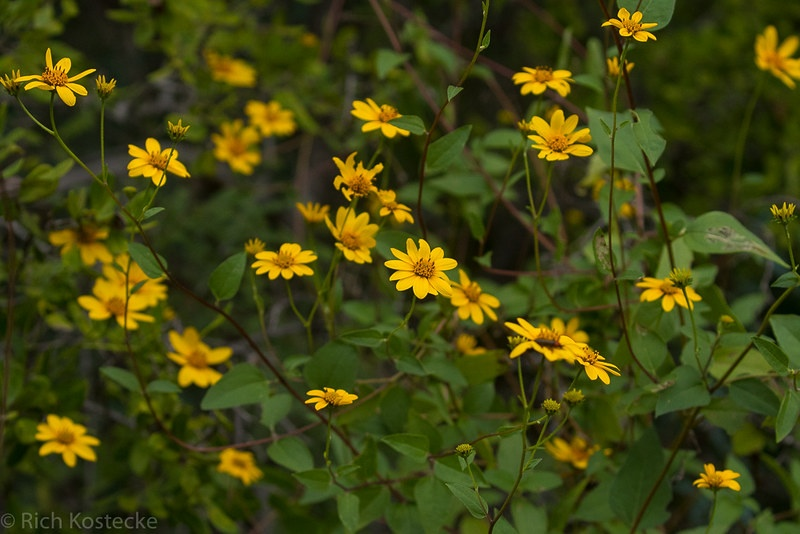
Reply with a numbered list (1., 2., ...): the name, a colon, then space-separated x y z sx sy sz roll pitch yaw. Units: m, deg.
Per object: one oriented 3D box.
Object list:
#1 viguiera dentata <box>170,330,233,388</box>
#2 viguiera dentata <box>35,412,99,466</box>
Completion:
1. viguiera dentata: -0.486 0.226 1.889 0.150 0.065 0.147 13 47 -12
2. viguiera dentata: -0.746 0.387 1.763 0.160 0.061 0.142 24 3 32
